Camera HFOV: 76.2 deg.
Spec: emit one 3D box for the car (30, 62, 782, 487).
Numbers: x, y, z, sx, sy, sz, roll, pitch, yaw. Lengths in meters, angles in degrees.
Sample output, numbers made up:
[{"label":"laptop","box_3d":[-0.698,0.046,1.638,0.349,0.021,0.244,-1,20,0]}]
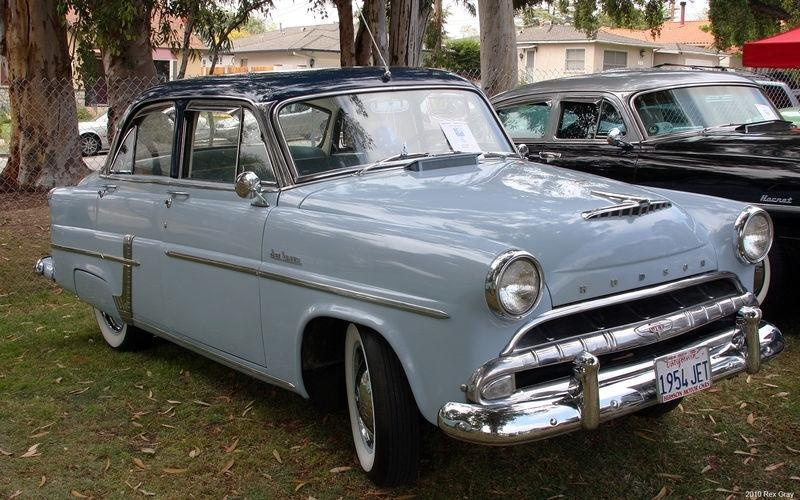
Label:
[{"label":"car","box_3d":[-0.569,0.004,4.163,2.815,1.941,5.088,-8,12,-44]}]
